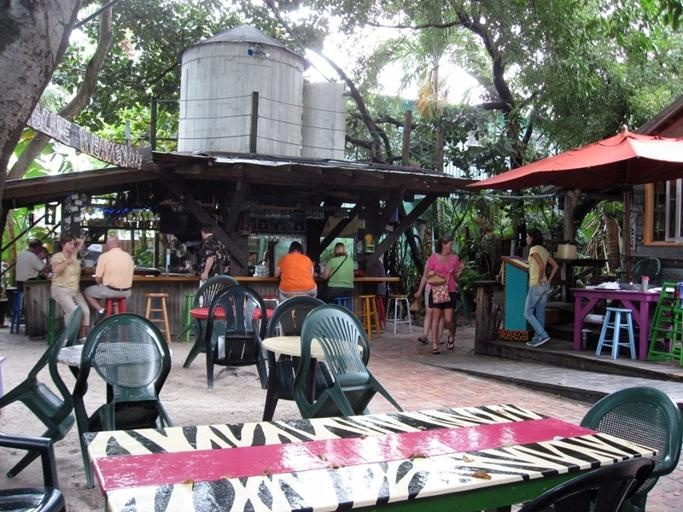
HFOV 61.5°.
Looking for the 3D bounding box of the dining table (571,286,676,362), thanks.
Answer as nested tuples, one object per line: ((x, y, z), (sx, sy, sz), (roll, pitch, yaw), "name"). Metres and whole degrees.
((4.384, 0.879, 9.029), (1.306, 0.984, 1.005), (2, -1, -44), "dining table")

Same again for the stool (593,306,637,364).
((4.274, 1.167, 8.848), (0.576, 0.793, 1.141), (3, 4, 28), "stool")

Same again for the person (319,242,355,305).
((-0.068, 0.340, 11.771), (0.625, 1.247, 0.295), (1, 4, -9), "person")

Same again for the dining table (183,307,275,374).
((-1.770, 1.078, 8.177), (1.240, 0.966, 1.226), (1, -1, -2), "dining table")

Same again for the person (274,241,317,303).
((-0.812, 0.266, 10.413), (0.681, 1.054, 1.160), (1, 4, -1), "person")

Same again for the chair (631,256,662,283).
((5.519, 0.245, 10.295), (0.477, 0.650, 0.467), (-1, -1, 43), "chair")

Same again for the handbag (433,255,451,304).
((1.802, 0.593, 10.336), (0.313, 0.513, 0.521), (-1, -1, -1), "handbag")

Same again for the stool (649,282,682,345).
((4.871, 0.875, 8.576), (0.394, 1.011, 0.784), (3, 4, 28), "stool")

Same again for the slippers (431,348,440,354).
((1.709, 1.724, 10.400), (0.110, 0.085, 0.294), (1, 2, 6), "slippers")

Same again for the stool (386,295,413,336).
((1.553, 1.491, 15.310), (0.840, 1.182, 0.859), (-3, -3, 37), "stool")

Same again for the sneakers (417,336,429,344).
((1.629, 1.674, 11.392), (0.110, 0.127, 0.316), (-4, -17, 16), "sneakers")
